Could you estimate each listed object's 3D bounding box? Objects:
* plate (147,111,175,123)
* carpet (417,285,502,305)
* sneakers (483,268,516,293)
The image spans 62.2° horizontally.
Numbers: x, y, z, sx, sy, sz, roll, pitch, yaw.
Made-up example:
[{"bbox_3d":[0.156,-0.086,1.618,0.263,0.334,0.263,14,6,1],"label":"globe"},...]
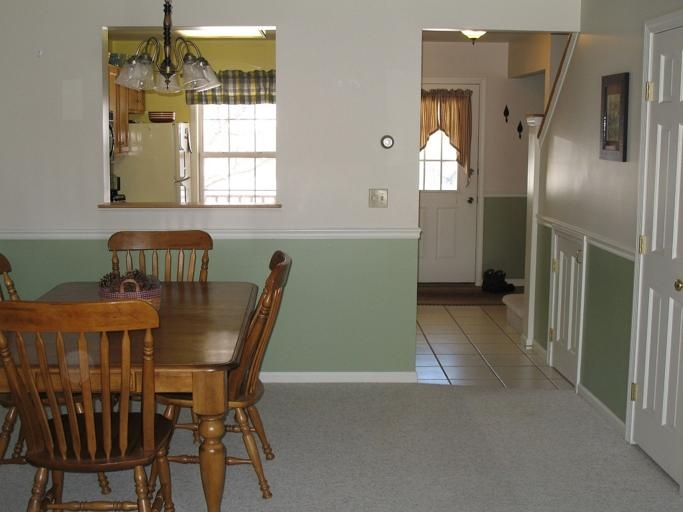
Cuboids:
[{"bbox_3d":[-2.071,-1.600,6.526,0.280,0.150,0.517,-4,11,-20],"label":"plate"},{"bbox_3d":[1.426,0.474,6.934,1.037,0.026,0.929,1,10,3],"label":"carpet"},{"bbox_3d":[1.940,0.334,7.130,0.262,0.135,0.353,1,14,10],"label":"sneakers"}]
